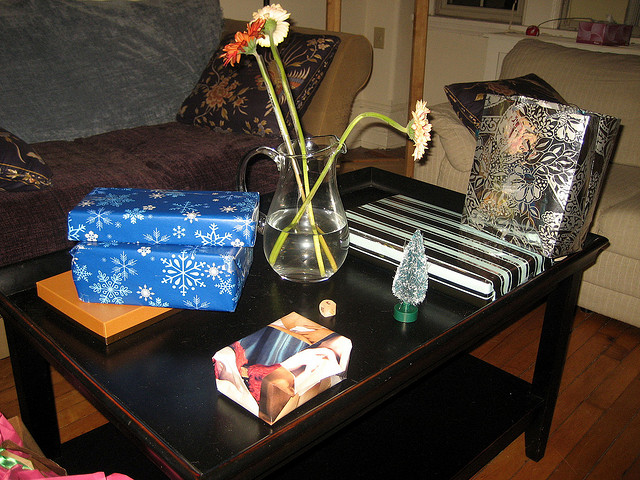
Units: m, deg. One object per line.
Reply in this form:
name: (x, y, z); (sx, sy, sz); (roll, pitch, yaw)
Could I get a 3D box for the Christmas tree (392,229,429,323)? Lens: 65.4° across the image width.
Christmas tree: (0.177, 0.066, 0.954); (0.067, 0.175, 0.069); (13, 16, 23)

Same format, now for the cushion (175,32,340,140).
cushion: (-0.188, -0.542, 2.124); (0.615, 0.582, 0.168); (33, -4, 38)

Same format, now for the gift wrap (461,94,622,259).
gift wrap: (0.469, -0.150, 1.112); (0.100, 0.295, 0.244); (-13, 24, -34)

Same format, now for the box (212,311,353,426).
box: (-0.055, 0.202, 0.812); (0.153, 0.072, 0.188); (27, 36, 36)

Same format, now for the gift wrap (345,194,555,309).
gift wrap: (0.284, 0.030, 1.062); (0.421, 0.072, 0.317); (16, 28, 35)

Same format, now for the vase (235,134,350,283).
vase: (-0.038, -0.062, 1.014); (0.190, 0.266, 0.145); (1, 29, -4)

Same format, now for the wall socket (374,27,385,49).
wall socket: (0.415, -1.416, 3.495); (0.028, 0.134, 0.114); (-16, 34, -32)

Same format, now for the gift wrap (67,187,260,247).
gift wrap: (-0.292, -0.053, 0.983); (0.345, 0.079, 0.192); (3, 29, -1)

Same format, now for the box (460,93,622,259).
box: (0.524, -0.156, 1.230); (0.361, 0.354, 0.284); (22, 33, 24)

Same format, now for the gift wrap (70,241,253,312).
gift wrap: (-0.293, 0.023, 1.024); (0.324, 0.133, 0.256); (3, 25, 3)

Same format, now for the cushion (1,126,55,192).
cushion: (-0.881, -0.237, 1.542); (0.166, 0.174, 0.156); (-4, 31, -23)

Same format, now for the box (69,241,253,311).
box: (-0.303, 0.066, 0.923); (0.302, 0.124, 0.052); (3, 29, -1)
